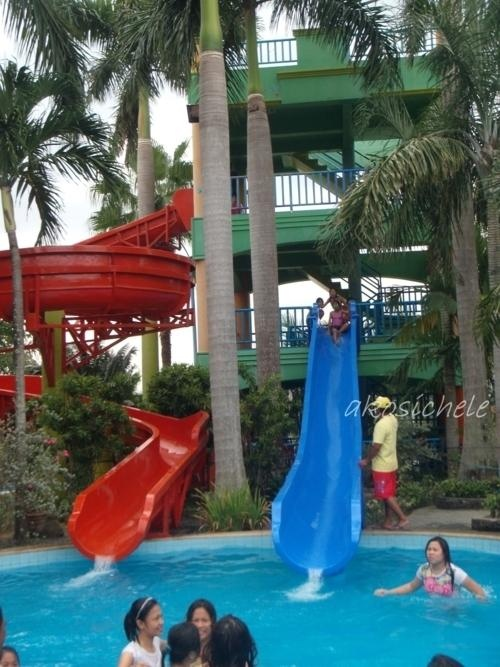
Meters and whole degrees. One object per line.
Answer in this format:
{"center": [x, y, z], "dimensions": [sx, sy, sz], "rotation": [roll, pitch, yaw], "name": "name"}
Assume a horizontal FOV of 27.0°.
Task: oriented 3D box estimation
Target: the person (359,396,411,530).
{"center": [1.665, 1.588, 12.942], "dimensions": [0.515, 1.568, 1.951], "rotation": [-2, 0, 8], "name": "person"}

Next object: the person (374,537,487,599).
{"center": [1.743, 2.177, 9.781], "dimensions": [0.625, 0.598, 0.767], "rotation": [-2, 0, -29], "name": "person"}

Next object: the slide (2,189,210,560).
{"center": [-2.009, 0.677, 14.565], "dimensions": [2.434, 4.558, 4.619], "rotation": [0, 2, -16], "name": "slide"}
